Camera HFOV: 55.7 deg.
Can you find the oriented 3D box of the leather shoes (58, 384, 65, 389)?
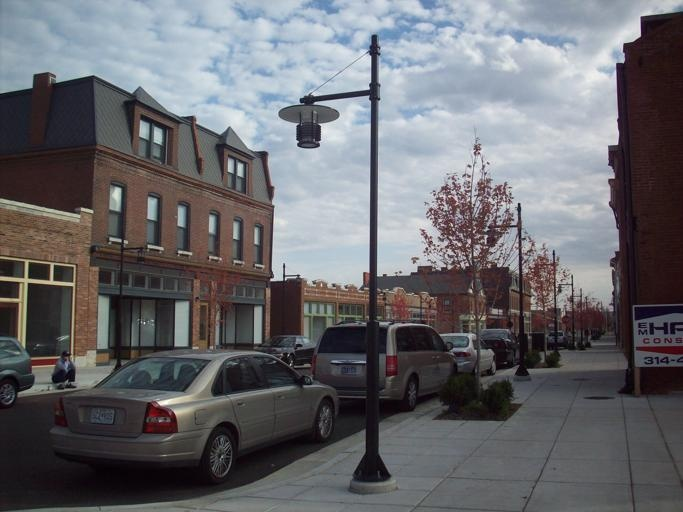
[{"bbox_3d":[-9.172,4.220,21.176,0.148,0.057,0.147,2,-3,-38],"label":"leather shoes"}]
